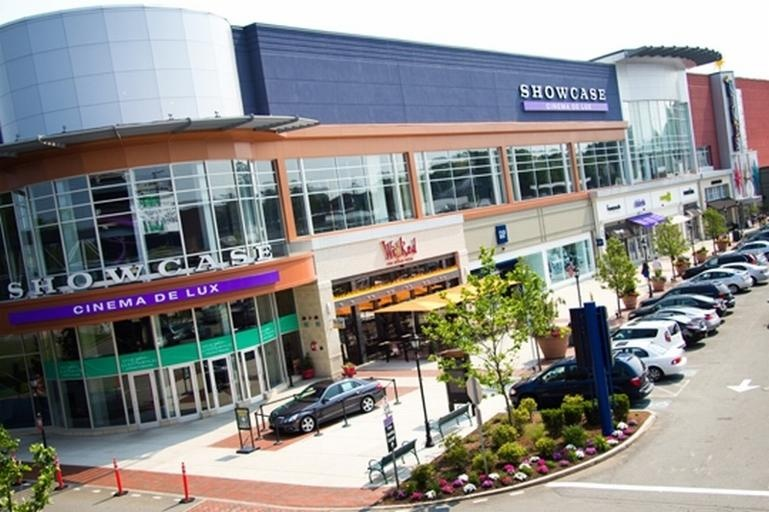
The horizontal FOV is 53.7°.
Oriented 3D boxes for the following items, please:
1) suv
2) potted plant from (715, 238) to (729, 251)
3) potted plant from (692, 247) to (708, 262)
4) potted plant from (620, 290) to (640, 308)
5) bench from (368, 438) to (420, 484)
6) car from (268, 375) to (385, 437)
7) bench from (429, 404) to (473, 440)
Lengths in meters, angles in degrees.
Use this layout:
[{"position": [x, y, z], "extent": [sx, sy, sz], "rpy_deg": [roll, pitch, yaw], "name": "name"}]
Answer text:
[{"position": [8.441, 5.319, 32.806], "extent": [5.796, 1.758, 2.530], "rpy_deg": [-1, -1, 18], "name": "suv"}, {"position": [29.084, -1.021, 65.074], "extent": [1.494, 0.883, 1.313], "rpy_deg": [-2, 3, -5], "name": "potted plant"}, {"position": [24.748, -0.105, 59.163], "extent": [1.628, 0.967, 1.463], "rpy_deg": [-2, 5, 13], "name": "potted plant"}, {"position": [15.293, 2.774, 46.923], "extent": [1.159, 0.761, 1.177], "rpy_deg": [-2, 0, 44], "name": "potted plant"}, {"position": [0.437, 8.119, 29.720], "extent": [0.817, 0.771, 2.147], "rpy_deg": [6, 8, 34], "name": "bench"}, {"position": [-2.916, 6.940, 35.613], "extent": [5.847, 1.372, 2.293], "rpy_deg": [-7, 4, -33], "name": "car"}, {"position": [2.667, 7.051, 31.767], "extent": [0.852, 1.052, 2.372], "rpy_deg": [-41, -15, 22], "name": "bench"}]
